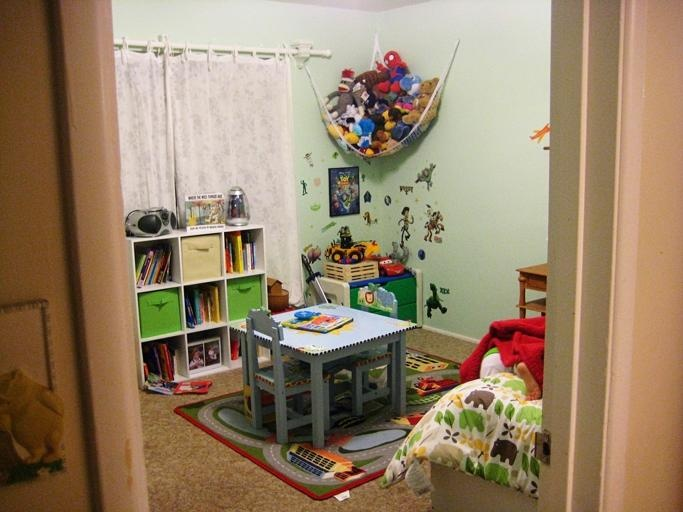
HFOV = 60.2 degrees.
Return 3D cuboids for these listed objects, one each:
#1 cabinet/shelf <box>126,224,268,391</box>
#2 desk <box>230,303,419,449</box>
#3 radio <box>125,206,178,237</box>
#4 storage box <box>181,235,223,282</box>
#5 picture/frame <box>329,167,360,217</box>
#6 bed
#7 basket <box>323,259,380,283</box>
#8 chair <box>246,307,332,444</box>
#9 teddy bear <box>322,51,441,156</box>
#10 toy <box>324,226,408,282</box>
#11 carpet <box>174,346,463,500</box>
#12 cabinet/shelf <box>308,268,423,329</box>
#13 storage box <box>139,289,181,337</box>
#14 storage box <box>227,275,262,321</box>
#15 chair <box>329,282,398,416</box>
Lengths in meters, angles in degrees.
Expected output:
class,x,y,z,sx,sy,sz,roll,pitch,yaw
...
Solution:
class,x,y,z,sx,sy,sz,roll,pitch,yaw
cabinet/shelf,-0.997,0.367,4.510,1.054,1.058,0.356,-7,-8,14
desk,-0.216,0.585,3.681,0.857,0.570,0.873,-7,9,-41
radio,-1.372,-0.240,4.206,0.218,0.185,0.370,-5,8,24
storage box,-1.161,0.022,4.566,0.344,0.345,0.361,3,8,43
picture/frame,0.014,-0.616,5.583,0.389,0.539,0.040,-11,19,-36
bed,0.564,0.760,2.483,0.658,0.344,0.671,4,9,23
basket,0.130,0.143,5.391,0.275,0.122,0.273,-2,4,-41
chair,-0.317,0.712,3.620,0.475,0.758,0.478,5,9,36
teddy bear,0.358,-1.275,5.168,0.957,0.613,0.859,-31,42,-7
toy,0.168,0.022,5.429,0.565,0.360,0.554,2,3,41
carpet,-0.022,1.021,3.793,1.277,0.012,1.710,14,12,26
cabinet/shelf,0.267,0.459,5.542,0.931,0.573,0.548,-7,7,-36
storage box,-1.326,0.395,4.364,0.295,0.314,0.307,-8,11,-33
storage box,-0.782,0.319,4.780,0.309,0.281,0.257,-10,3,-24
chair,0.140,0.612,3.920,0.466,0.741,0.459,-5,8,44
